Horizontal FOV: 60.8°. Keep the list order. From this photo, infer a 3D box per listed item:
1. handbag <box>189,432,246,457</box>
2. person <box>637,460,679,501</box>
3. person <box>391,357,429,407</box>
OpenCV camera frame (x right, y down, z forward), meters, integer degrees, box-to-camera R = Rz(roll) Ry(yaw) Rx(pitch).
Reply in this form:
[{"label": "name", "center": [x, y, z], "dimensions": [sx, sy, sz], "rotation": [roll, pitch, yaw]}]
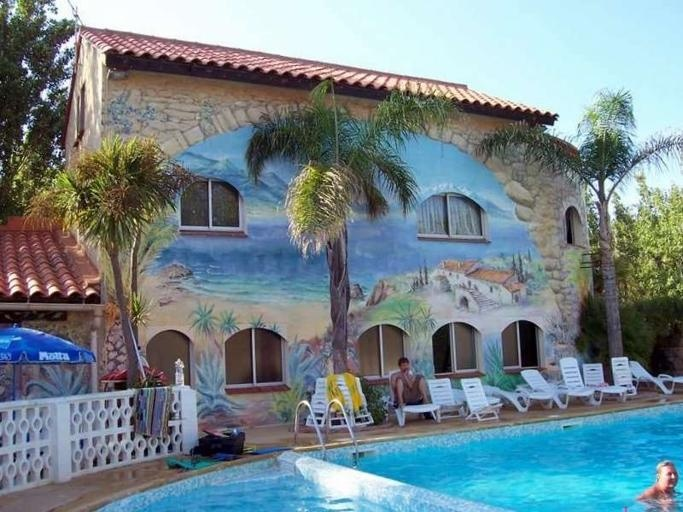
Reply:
[{"label": "handbag", "center": [-2.271, 3.583, 11.088], "dimensions": [0.627, 0.357, 0.531], "rotation": [0, -13, 5]}, {"label": "person", "center": [4.919, 3.456, 8.997], "dimensions": [0.733, 0.621, 0.563], "rotation": [10, -15, -35]}, {"label": "person", "center": [1.675, 3.199, 14.544], "dimensions": [0.759, 1.253, 1.114], "rotation": [-1, -13, -15]}]
